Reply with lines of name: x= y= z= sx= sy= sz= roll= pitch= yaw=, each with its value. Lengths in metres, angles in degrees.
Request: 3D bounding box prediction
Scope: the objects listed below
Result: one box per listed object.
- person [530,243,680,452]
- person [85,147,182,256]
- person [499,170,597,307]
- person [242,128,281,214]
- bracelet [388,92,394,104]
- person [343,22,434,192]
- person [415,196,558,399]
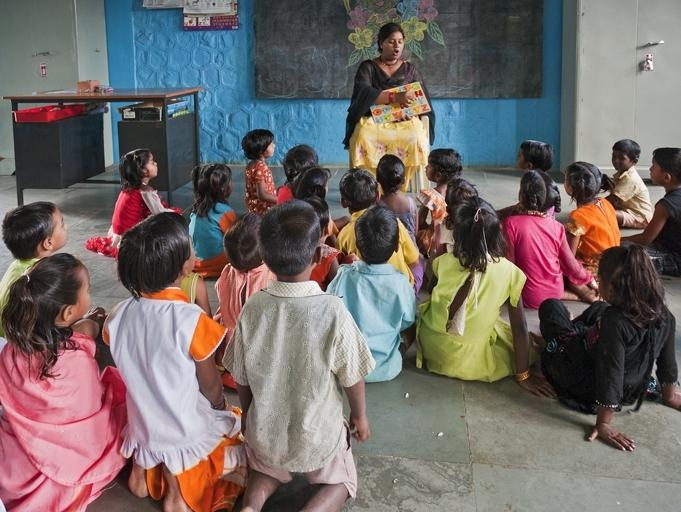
person: x=0.868 y=0.239 z=1.928 sx=0.381 sy=0.604 sz=0.760 roll=-8 pitch=21 yaw=-6
person: x=-1.452 y=-0.370 z=3.485 sx=0.736 sy=0.734 sz=0.802 roll=-2 pitch=7 yaw=-9
person: x=1.046 y=-0.093 z=2.627 sx=0.699 sy=0.734 sz=0.399 roll=2 pitch=16 yaw=22
person: x=-0.614 y=-0.485 z=3.859 sx=0.295 sy=0.973 sz=0.300 roll=-3 pitch=33 yaw=-17
bracelet: x=0.400 y=-1.277 z=4.035 sx=0.024 sy=0.065 sz=0.047 roll=10 pitch=22 yaw=-2
person: x=0.403 y=-1.221 z=4.240 sx=0.714 sy=1.378 sz=0.725 roll=9 pitch=22 yaw=32
person: x=0.526 y=0.144 z=2.271 sx=0.643 sy=0.865 sz=0.651 roll=5 pitch=17 yaw=18
